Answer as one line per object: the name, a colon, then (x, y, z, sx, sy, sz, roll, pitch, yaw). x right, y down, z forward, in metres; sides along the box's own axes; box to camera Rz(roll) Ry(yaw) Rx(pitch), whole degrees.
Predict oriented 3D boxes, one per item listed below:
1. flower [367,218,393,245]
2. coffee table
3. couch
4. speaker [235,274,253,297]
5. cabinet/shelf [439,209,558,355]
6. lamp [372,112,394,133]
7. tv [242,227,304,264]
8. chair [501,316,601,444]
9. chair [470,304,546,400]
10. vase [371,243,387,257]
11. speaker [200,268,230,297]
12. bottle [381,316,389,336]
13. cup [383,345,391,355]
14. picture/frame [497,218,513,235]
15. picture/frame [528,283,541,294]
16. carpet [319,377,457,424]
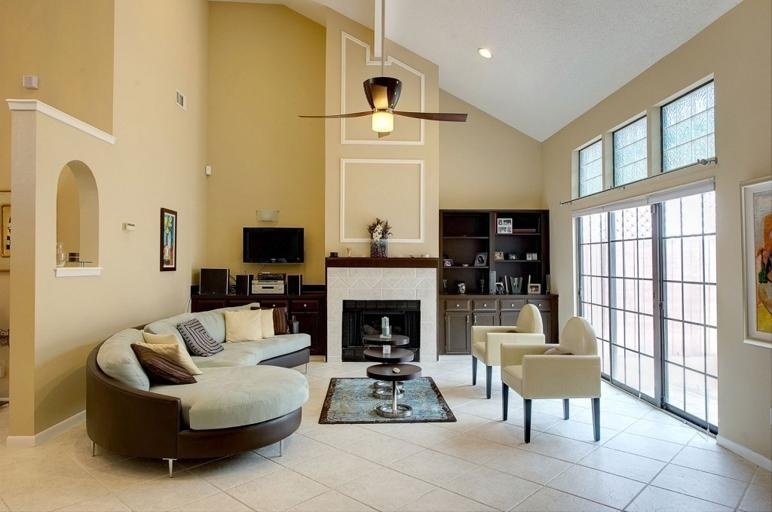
flower: (-0.095, -0.455, 9.629, 0.403, 0.412, 0.182, 0, 4, -3)
coffee table: (0.076, 1.614, 7.647, 0.718, 0.887, 1.301, 1, 3, -2)
couch: (-2.161, 1.587, 7.488, 2.567, 1.374, 3.409, 1, 3, 3)
speaker: (-2.586, 0.516, 10.012, 0.361, 0.486, 0.355, 0, -4, -1)
cabinet/shelf: (1.995, 0.552, 10.084, 2.079, 2.511, 0.712, -1, 3, 6)
lamp: (-0.020, -1.571, 6.490, 0.222, 0.153, 0.227, -3, -6, 43)
tv: (-2.110, -0.200, 10.314, 1.117, 0.676, 0.133, 0, -3, 0)
chair: (2.084, 1.492, 7.027, 1.173, 1.330, 1.224, 0, 0, 8)
chair: (1.764, 1.348, 8.092, 1.037, 1.223, 1.078, 0, -1, 7)
vase: (-0.126, -0.117, 9.610, 0.278, 0.290, 0.158, 0, 4, -6)
speaker: (-2.998, 0.513, 9.971, 0.652, 0.589, 0.426, 0, -5, -2)
bottle: (-0.008, 1.053, 8.227, 0.089, 0.261, 0.243, 0, 4, -5)
cup: (0.017, 1.316, 7.642, 0.108, 0.104, 0.105, 1, -3, 0)
picture/frame: (2.176, -0.543, 10.039, 0.300, 0.279, 0.094, 1, -3, 1)
picture/frame: (2.736, 0.593, 10.048, 0.291, 0.269, 0.157, 0, -6, 9)
carpet: (-0.008, 2.004, 7.858, 1.878, 0.019, 2.013, -1, 6, -11)
